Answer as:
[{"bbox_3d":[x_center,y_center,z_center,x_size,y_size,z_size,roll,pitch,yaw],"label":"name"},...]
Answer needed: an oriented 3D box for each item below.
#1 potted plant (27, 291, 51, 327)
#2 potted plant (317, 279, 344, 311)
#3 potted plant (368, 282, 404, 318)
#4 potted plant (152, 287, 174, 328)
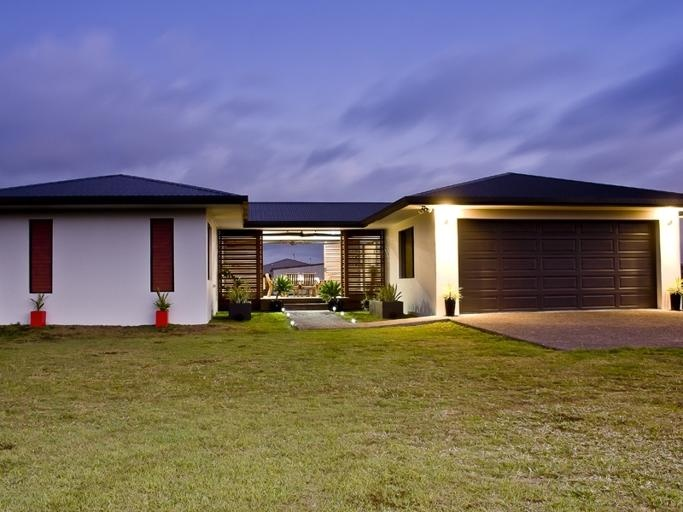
[{"bbox_3d":[-7.177,1.277,14.016,0.376,0.692,0.647,-6,15,-18],"label":"potted plant"},{"bbox_3d":[-0.425,1.367,20.485,0.993,1.065,0.933,3,-6,-21],"label":"potted plant"},{"bbox_3d":[1.494,1.410,17.591,0.891,1.132,1.457,0,-1,-11],"label":"potted plant"},{"bbox_3d":[-4.281,1.269,14.195,0.447,0.794,0.382,3,-5,-43],"label":"potted plant"}]
